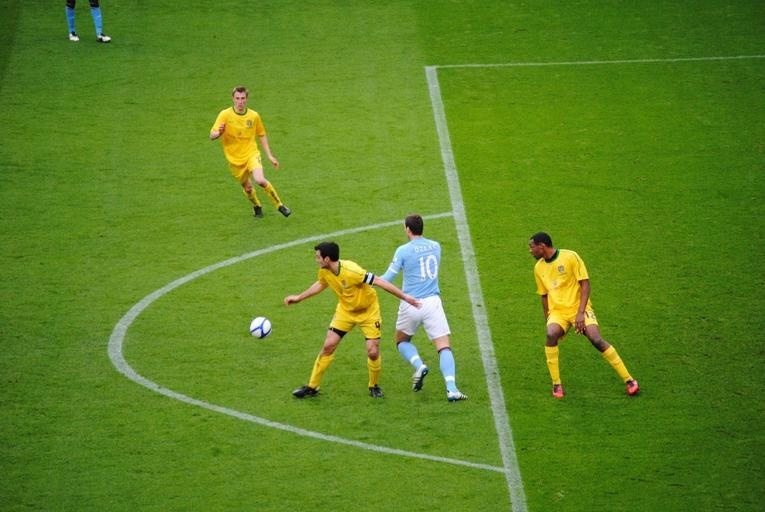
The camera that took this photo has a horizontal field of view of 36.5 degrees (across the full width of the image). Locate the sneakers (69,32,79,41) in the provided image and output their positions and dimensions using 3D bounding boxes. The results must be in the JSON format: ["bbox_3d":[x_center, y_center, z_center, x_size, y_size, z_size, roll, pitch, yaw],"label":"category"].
[{"bbox_3d":[-7.257,-5.231,27.369,0.133,0.111,0.232,-18,24,-24],"label":"sneakers"}]

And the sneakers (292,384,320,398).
[{"bbox_3d":[-1.167,2.145,18.223,0.459,0.202,0.166,-4,77,-2],"label":"sneakers"}]

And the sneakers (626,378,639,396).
[{"bbox_3d":[3.930,2.068,18.259,0.154,0.127,0.307,-12,14,16],"label":"sneakers"}]

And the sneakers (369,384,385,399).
[{"bbox_3d":[-0.093,2.150,18.273,0.199,0.098,0.228,-17,69,-5],"label":"sneakers"}]

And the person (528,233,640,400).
[{"bbox_3d":[2.989,0.959,18.097,1.488,2.556,1.023,16,34,37],"label":"person"}]

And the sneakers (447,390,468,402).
[{"bbox_3d":[1.176,2.165,18.037,0.383,0.150,0.132,-5,24,-29],"label":"sneakers"}]

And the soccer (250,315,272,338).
[{"bbox_3d":[-1.895,1.101,18.093,0.346,0.335,0.331,-21,61,-16],"label":"soccer"}]

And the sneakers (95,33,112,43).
[{"bbox_3d":[-6.533,-5.193,27.267,0.314,0.204,0.151,-2,63,-3],"label":"sneakers"}]
